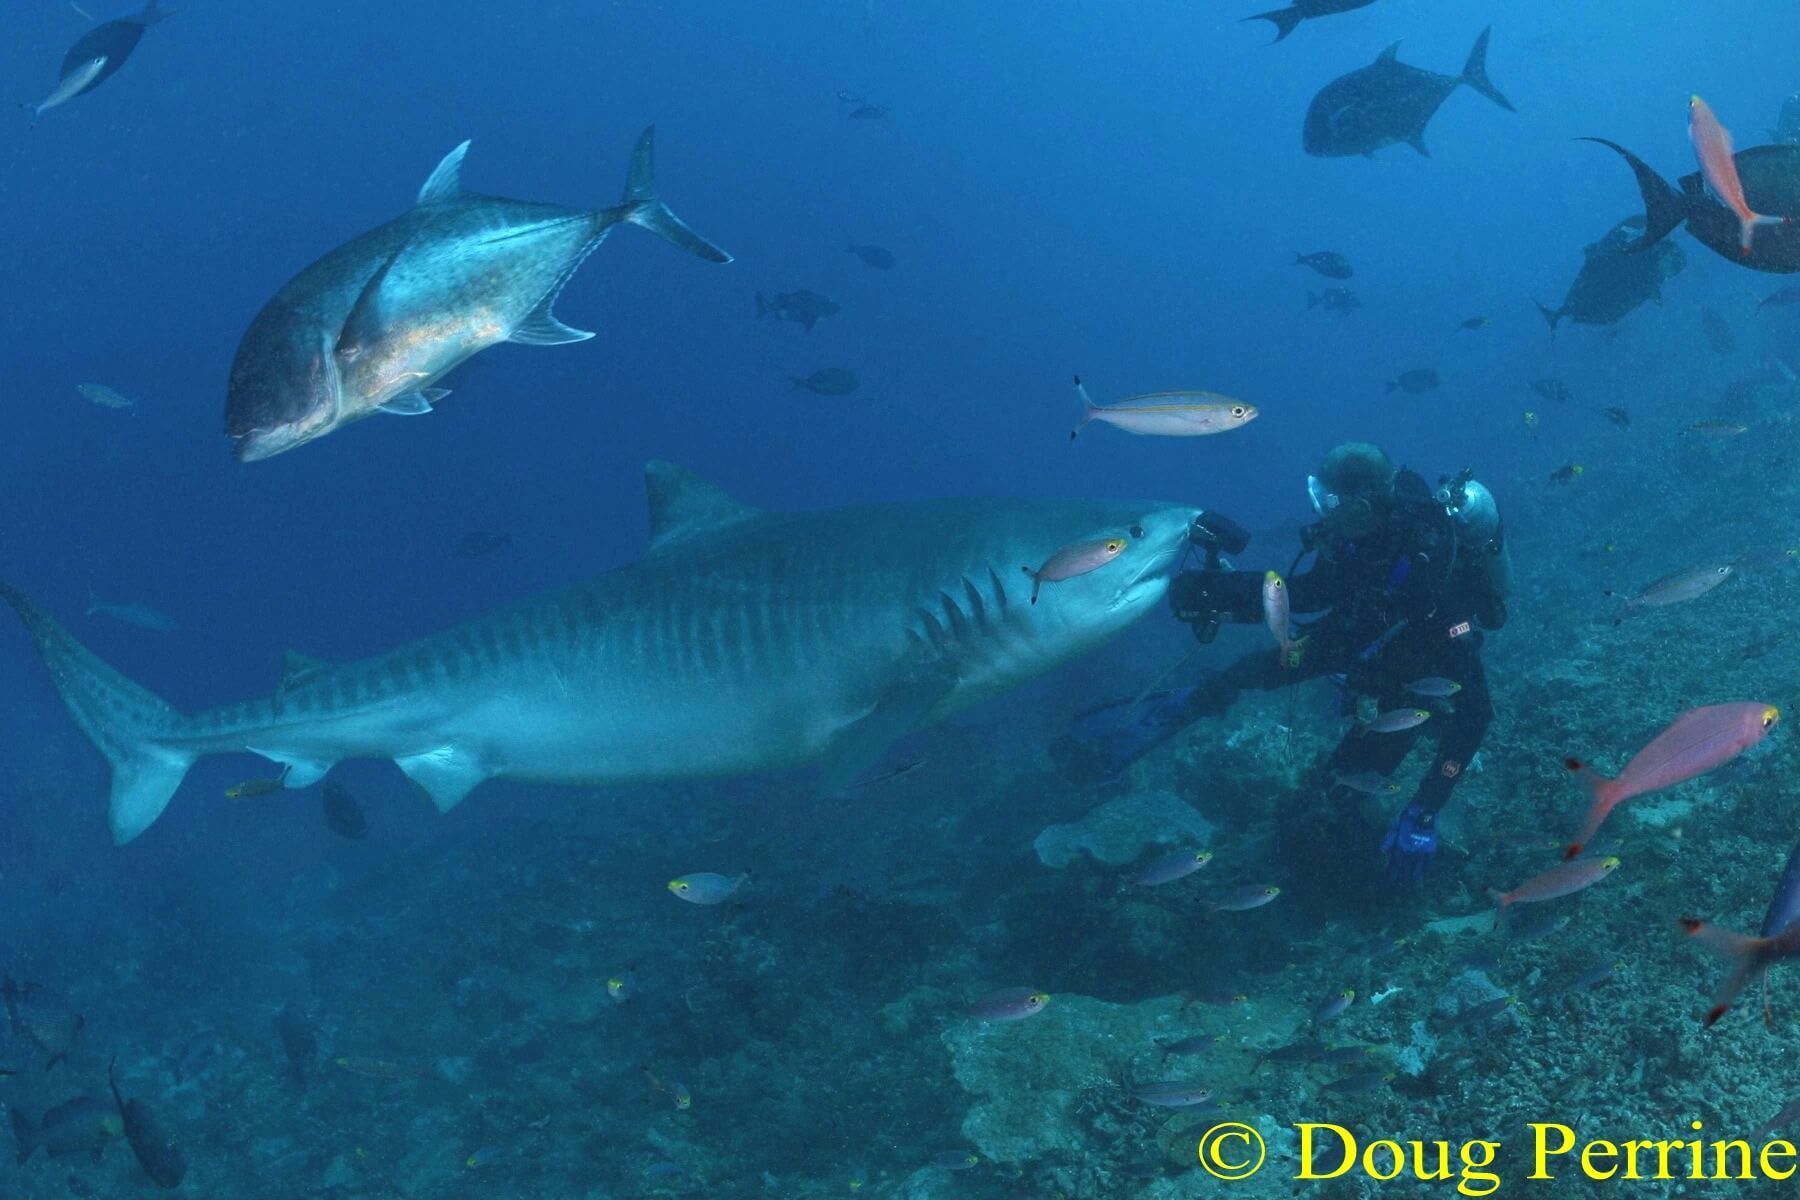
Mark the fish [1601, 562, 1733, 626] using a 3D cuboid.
[{"bbox_3d":[8.081,-0.058,17.692,0.321,0.399,1.892,-2,12,44],"label":"fish"}]

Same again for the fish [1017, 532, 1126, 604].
[{"bbox_3d":[1.358,-0.295,14.257,1.033,0.315,0.181,-23,6,18],"label":"fish"}]
